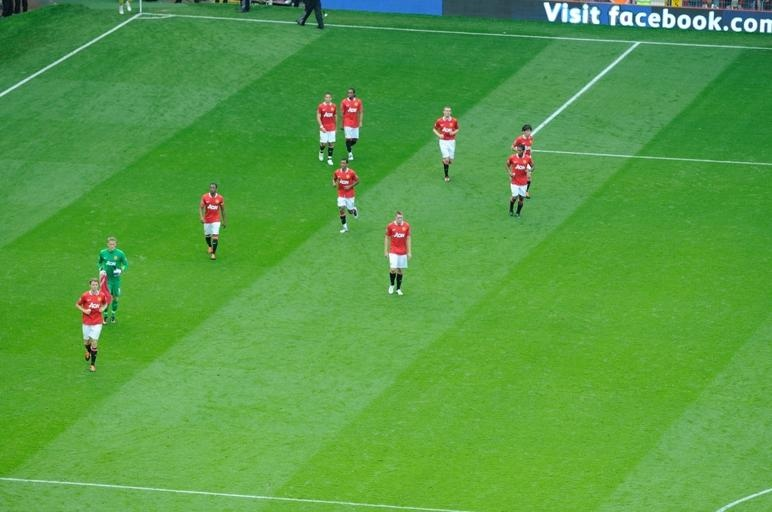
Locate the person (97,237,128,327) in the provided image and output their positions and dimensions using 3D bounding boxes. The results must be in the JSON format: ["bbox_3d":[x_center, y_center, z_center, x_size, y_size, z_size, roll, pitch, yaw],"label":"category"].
[{"bbox_3d":[-8.481,0.757,47.905,1.195,2.606,1.149,-1,9,-29],"label":"person"}]

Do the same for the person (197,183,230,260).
[{"bbox_3d":[-5.692,-1.241,51.080,0.747,2.609,1.164,-3,28,-6],"label":"person"}]

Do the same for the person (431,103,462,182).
[{"bbox_3d":[1.979,-4.000,55.024,1.126,2.576,1.591,3,15,9],"label":"person"}]
